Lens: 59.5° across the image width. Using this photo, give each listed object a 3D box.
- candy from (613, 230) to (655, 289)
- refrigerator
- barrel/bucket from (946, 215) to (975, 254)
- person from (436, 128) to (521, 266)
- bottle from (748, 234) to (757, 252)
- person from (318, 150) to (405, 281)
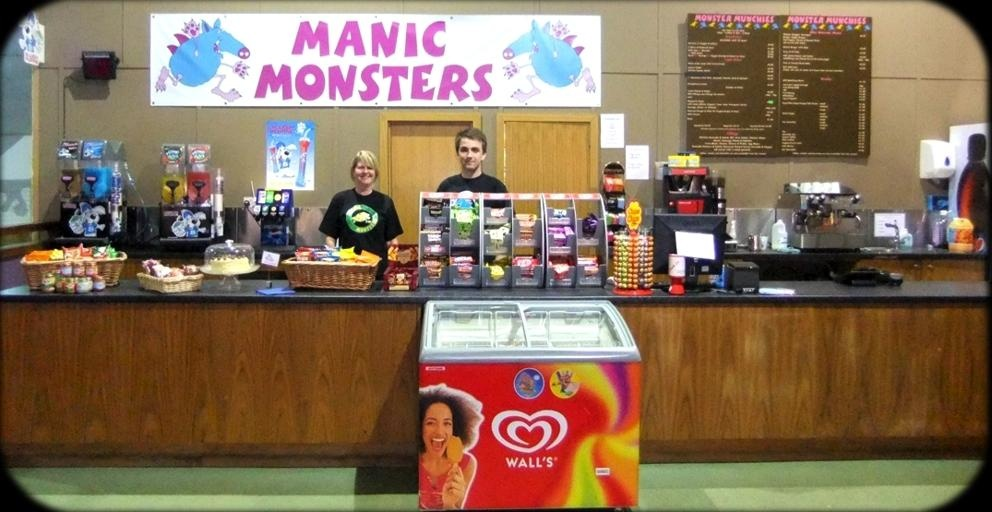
[{"bbox_3d":[1.439,0.067,9.025,0.424,0.616,0.337,0,7,8],"label":"candy"},{"bbox_3d":[0.305,1.512,8.310,2.403,1.854,1.174,0,-1,-1],"label":"refrigerator"},{"bbox_3d":[5.937,-0.258,11.012,0.321,0.411,0.233,1,7,17],"label":"barrel/bucket"},{"bbox_3d":[-0.266,-1.016,9.978,0.791,0.865,1.226,-1,7,-3],"label":"person"},{"bbox_3d":[3.245,-0.154,10.913,0.111,0.177,0.194,0,7,10],"label":"bottle"},{"bbox_3d":[-1.549,-0.507,9.981,0.892,1.336,0.351,-2,7,-9],"label":"person"}]
